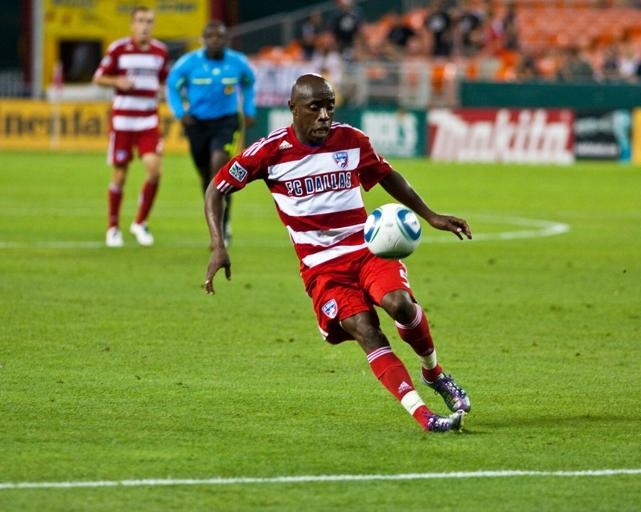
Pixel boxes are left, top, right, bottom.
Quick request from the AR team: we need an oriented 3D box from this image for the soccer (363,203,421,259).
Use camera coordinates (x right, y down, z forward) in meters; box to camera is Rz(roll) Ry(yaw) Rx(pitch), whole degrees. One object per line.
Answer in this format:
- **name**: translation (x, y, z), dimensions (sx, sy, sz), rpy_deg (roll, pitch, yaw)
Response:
- **soccer**: translation (0.451, -0.143, 7.131), dimensions (0.430, 0.347, 0.384), rpy_deg (-4, 9, -14)

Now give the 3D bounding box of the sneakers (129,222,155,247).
- **sneakers**: translation (-1.605, -0.184, 10.137), dimensions (0.140, 0.135, 0.377), rpy_deg (-8, 17, -24)

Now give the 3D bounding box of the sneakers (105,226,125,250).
- **sneakers**: translation (-1.737, -0.153, 9.463), dimensions (0.122, 0.109, 0.331), rpy_deg (-3, 2, -17)

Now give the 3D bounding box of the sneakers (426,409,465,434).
- **sneakers**: translation (0.750, 0.993, 6.801), dimensions (0.200, 0.128, 0.172), rpy_deg (3, 13, 10)

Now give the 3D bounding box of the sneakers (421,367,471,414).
- **sneakers**: translation (0.797, 0.846, 7.160), dimensions (0.387, 0.161, 0.159), rpy_deg (38, -22, 19)

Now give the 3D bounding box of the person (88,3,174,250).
- **person**: translation (-1.735, -1.108, 10.386), dimensions (0.664, 1.943, 1.541), rpy_deg (-1, 13, -8)
